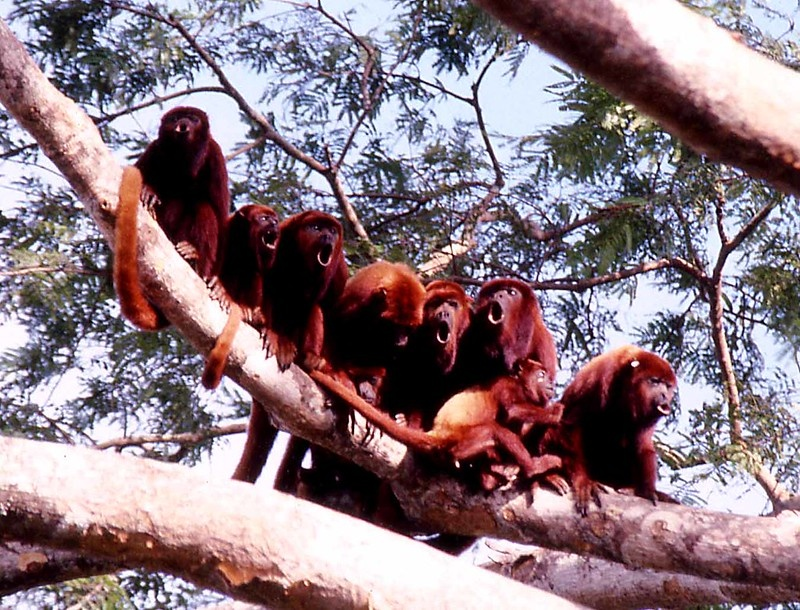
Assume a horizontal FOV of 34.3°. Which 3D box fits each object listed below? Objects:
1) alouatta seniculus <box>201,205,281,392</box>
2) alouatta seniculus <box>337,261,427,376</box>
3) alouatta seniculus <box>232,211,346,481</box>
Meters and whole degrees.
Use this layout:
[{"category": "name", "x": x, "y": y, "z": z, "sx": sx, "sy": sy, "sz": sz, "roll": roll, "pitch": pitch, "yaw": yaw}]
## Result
[{"category": "alouatta seniculus", "x": -1.093, "y": -0.011, "z": 8.933, "sx": 0.299, "sy": 1.294, "sz": 0.436, "roll": -12, "pitch": -41, "yaw": 36}, {"category": "alouatta seniculus", "x": -0.180, "y": 0.092, "z": 10.023, "sx": 0.659, "sy": 0.835, "sz": 0.932, "roll": 6, "pitch": -1, "yaw": -29}, {"category": "alouatta seniculus", "x": -0.777, "y": 0.255, "z": 9.081, "sx": 0.412, "sy": 1.852, "sz": 0.664, "roll": 6, "pitch": 13, "yaw": -35}]
